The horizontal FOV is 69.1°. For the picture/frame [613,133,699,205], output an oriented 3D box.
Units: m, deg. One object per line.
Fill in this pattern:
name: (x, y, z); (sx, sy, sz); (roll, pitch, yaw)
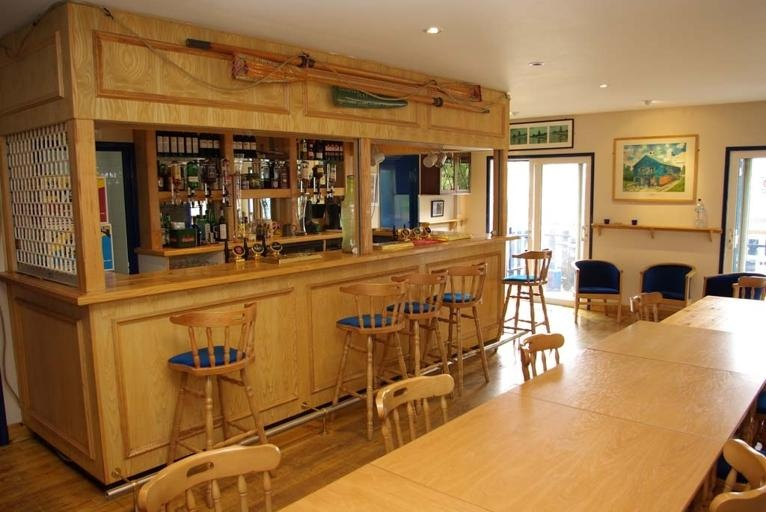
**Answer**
picture/frame: (4.135, -1.334, 8.337); (1.172, 0.951, 0.059); (5, 11, 34)

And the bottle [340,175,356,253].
bottle: (-0.358, -0.427, 5.505); (0.218, 0.745, 0.149); (2, 8, 27)

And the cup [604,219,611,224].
cup: (3.541, -0.557, 8.791); (0.086, 0.060, 0.085); (0, 7, 0)

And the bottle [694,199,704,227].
bottle: (4.611, -0.643, 8.085); (0.133, 0.412, 0.052); (3, 8, 29)

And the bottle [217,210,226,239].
bottle: (-1.972, -0.396, 6.820); (0.094, 0.363, 0.168); (-3, 8, -15)

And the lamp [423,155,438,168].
lamp: (0.604, -1.230, 7.013); (0.166, 0.149, 0.296); (0, 6, 7)

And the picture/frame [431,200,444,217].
picture/frame: (0.946, -0.863, 9.853); (0.023, 0.249, 0.309); (4, 9, 36)
